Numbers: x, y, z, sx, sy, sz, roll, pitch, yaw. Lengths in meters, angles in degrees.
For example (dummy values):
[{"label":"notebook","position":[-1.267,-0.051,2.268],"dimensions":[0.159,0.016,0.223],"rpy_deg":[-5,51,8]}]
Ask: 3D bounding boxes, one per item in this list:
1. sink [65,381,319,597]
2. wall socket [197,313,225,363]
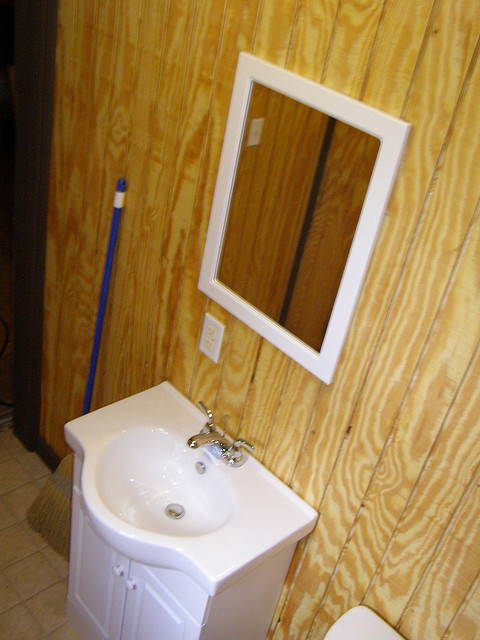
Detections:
[{"label":"sink","position":[-0.165,0.411,1.195],"dimensions":[0.626,0.180,0.445],"rpy_deg":[36,28,30]},{"label":"wall socket","position":[-0.077,0.045,1.301],"dimensions":[0.023,0.123,0.091],"rpy_deg":[-6,31,-42]}]
